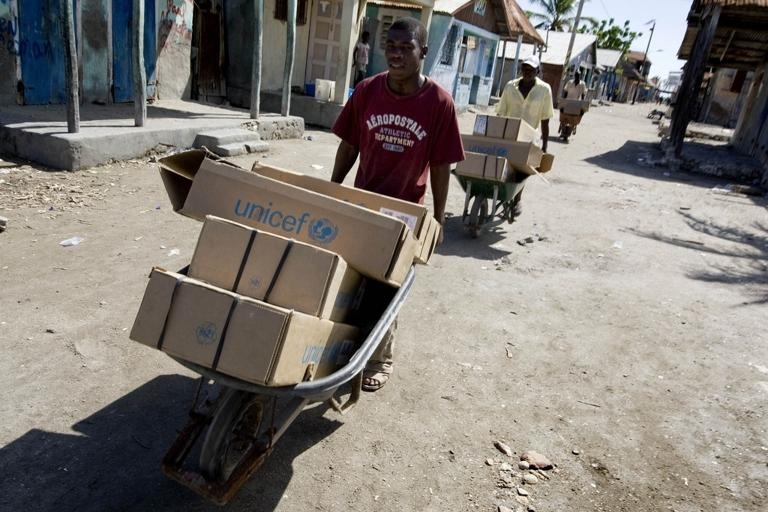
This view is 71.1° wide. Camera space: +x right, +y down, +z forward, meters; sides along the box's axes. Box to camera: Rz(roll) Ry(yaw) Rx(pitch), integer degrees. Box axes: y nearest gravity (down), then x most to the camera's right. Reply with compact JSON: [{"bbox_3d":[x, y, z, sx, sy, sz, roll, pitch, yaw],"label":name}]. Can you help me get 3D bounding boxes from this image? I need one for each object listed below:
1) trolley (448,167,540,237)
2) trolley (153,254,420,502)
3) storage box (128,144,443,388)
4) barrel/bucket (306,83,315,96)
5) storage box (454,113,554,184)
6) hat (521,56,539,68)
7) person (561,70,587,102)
[{"bbox_3d":[1.631,-0.879,7.830,0.989,0.734,1.702,13,22,26],"label":"trolley"},{"bbox_3d":[-0.579,0.805,3.702,1.085,0.777,1.798,20,40,22],"label":"trolley"},{"bbox_3d":[-0.774,0.187,3.747,2.070,1.228,0.781,15,-20,2],"label":"storage box"},{"bbox_3d":[-2.025,-4.538,14.657,0.211,0.307,0.721,6,19,-12],"label":"barrel/bucket"},{"bbox_3d":[1.655,-1.434,7.344,1.225,0.874,1.207,19,25,10],"label":"storage box"},{"bbox_3d":[2.015,-2.677,7.399,0.189,0.147,0.299,16,19,16],"label":"hat"},{"bbox_3d":[6.487,-5.778,18.186,0.696,1.038,2.043,15,19,13],"label":"person"}]
